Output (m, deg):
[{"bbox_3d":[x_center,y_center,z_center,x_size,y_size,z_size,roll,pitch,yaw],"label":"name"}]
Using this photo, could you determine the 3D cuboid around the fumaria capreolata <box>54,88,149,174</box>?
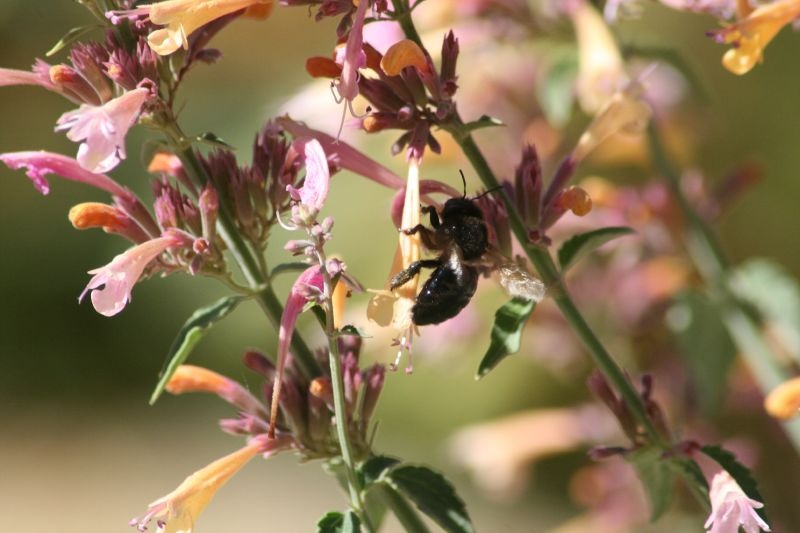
[{"bbox_3d":[-0.633,-0.301,1.918,0.188,0.163,0.112,-12,6,-16],"label":"fumaria capreolata"}]

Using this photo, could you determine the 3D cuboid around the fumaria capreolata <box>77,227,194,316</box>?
[{"bbox_3d":[-0.584,0.012,1.965,0.249,0.157,0.048,-15,8,-36],"label":"fumaria capreolata"}]

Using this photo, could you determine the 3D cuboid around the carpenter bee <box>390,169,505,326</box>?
[{"bbox_3d":[0.139,-0.070,2.321,0.228,0.410,0.317,-5,3,-26],"label":"carpenter bee"}]
